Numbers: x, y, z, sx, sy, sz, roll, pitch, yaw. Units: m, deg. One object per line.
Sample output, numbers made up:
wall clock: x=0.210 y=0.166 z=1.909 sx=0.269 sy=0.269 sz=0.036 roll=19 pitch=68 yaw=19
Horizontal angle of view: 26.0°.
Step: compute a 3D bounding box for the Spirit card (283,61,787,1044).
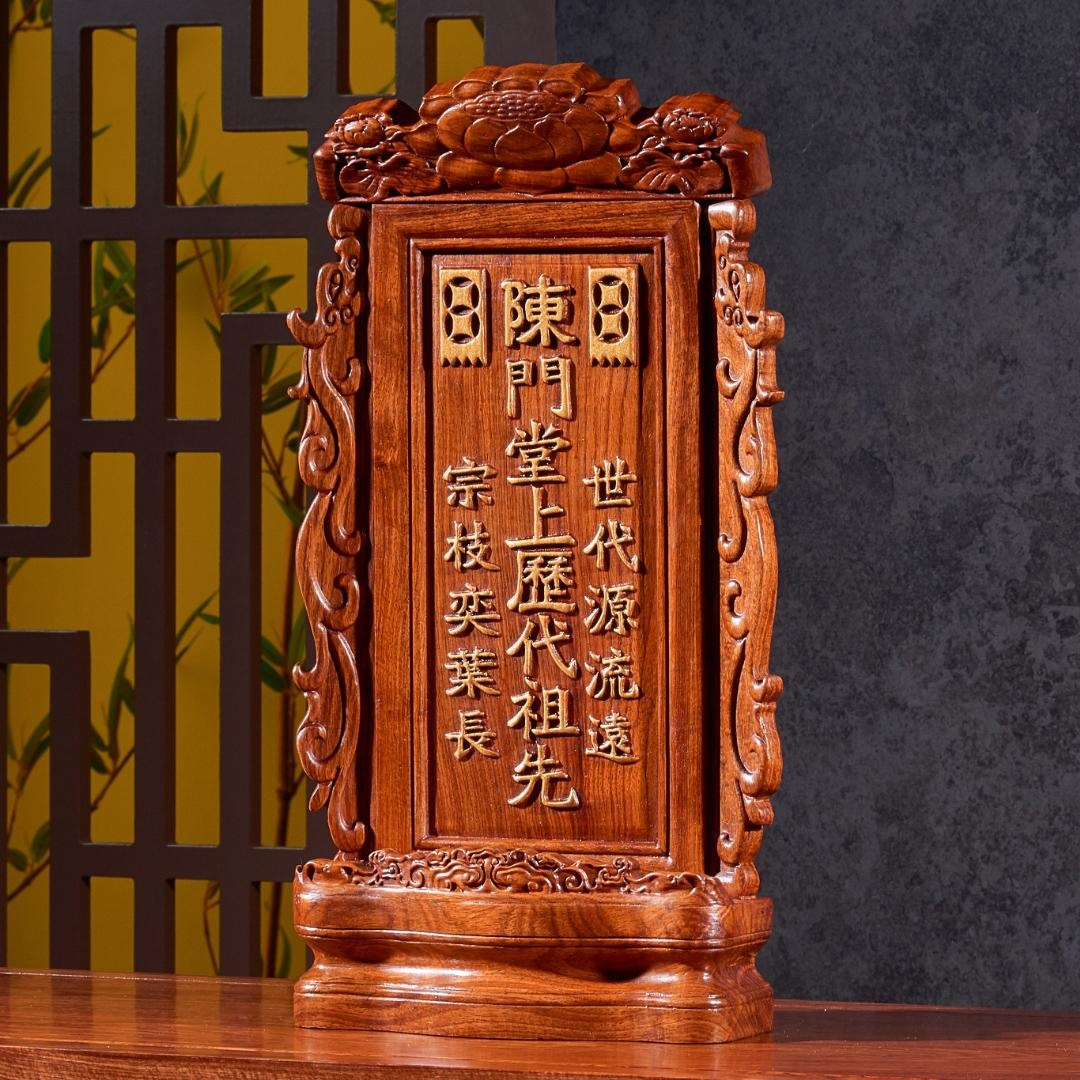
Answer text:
Spirit card: x=0.013 y=0.030 z=2.882 sx=0.657 sy=1.171 sz=0.247 roll=0 pitch=1 yaw=22
